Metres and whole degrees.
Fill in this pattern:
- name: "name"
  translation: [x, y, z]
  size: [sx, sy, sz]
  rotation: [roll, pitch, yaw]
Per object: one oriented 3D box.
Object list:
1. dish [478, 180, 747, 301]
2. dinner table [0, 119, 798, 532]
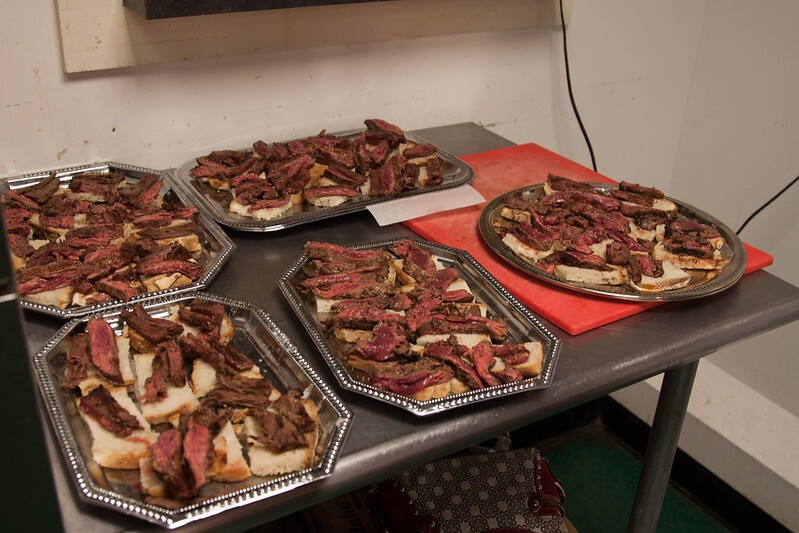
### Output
- name: "dish"
  translation: [0.663, -0.075, 1.723]
  size: [0.510, 0.053, 0.511]
  rotation: [-10, 31, -19]
- name: "dinner table"
  translation: [-0.006, 0.169, 1.647]
  size: [1.325, 0.937, 1.003]
  rotation: [-18, 37, -28]
